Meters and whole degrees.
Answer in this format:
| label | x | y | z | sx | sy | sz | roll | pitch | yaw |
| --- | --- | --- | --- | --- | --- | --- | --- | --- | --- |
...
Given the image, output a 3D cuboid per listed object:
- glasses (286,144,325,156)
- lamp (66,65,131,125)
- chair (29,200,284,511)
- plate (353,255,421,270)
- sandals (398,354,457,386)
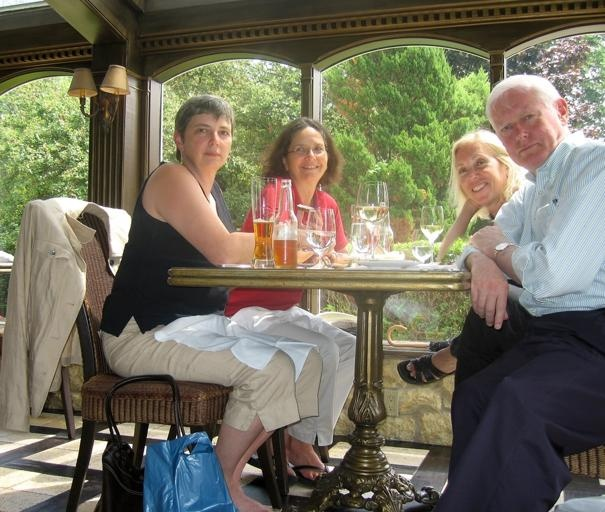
| label | x | y | z | sx | sy | sz | roll | pitch | yaw |
| --- | --- | --- | --- | --- | --- | --- | --- | --- | --- |
| glasses | 0.022 | -0.525 | 2.620 | 0.095 | 0.030 | 0.099 | 0 | -10 | -8 |
| lamp | -1.526 | -1.197 | 3.970 | 0.433 | 0.402 | 0.247 | -2 | -4 | -9 |
| chair | -0.422 | 0.371 | 2.431 | 1.023 | 1.503 | 0.907 | 4 | -5 | 3 |
| plate | 0.271 | 0.025 | 1.637 | 0.192 | 0.028 | 0.174 | 1 | -2 | 0 |
| sandals | 0.546 | 0.485 | 2.205 | 0.275 | 0.114 | 0.075 | -11 | -10 | 44 |
